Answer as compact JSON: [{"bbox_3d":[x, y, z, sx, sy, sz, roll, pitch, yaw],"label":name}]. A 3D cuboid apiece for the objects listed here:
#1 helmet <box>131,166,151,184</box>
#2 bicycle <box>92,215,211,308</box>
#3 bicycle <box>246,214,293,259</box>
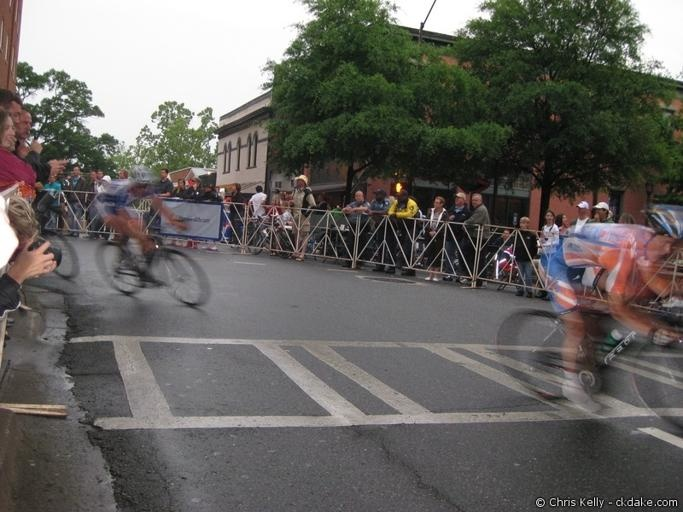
[{"bbox_3d":[-2.969,-1.191,8.170,0.352,0.143,0.278,13,10,9],"label":"helmet"},{"bbox_3d":[-2.574,0.117,8.157,1.651,1.055,0.870,4,12,22],"label":"bicycle"},{"bbox_3d":[-2.341,-0.684,18.669,1.846,1.219,0.912,8,8,39],"label":"bicycle"}]
